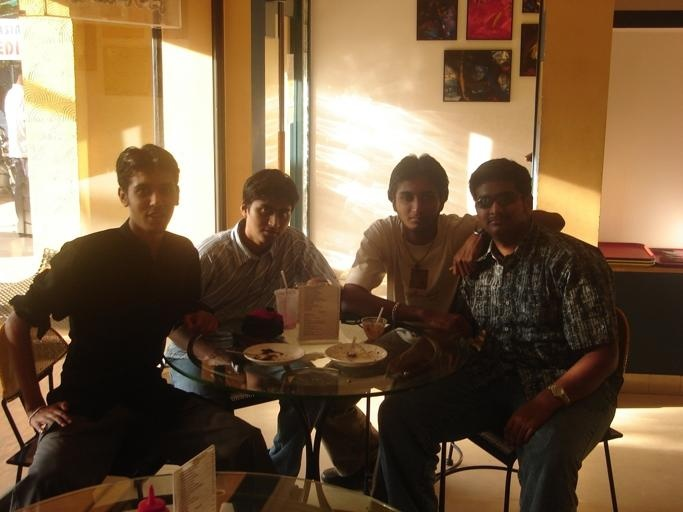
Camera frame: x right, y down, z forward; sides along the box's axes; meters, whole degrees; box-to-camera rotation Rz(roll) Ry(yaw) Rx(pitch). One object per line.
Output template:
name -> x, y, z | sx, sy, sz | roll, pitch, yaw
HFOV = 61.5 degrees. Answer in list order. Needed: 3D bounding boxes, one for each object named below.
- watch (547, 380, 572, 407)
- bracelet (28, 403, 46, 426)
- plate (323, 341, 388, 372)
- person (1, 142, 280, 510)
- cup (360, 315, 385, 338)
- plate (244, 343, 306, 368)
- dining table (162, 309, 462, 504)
watch -> 0.844, 0.527, 2.232 | 0.054, 0.087, 0.085 | -40, 32, -6
bracelet -> -1.132, 0.578, 2.114 | 0.095, 0.058, 0.041 | 8, 12, 33
plate -> 0.059, 0.357, 2.173 | 0.228, 0.066, 0.243 | 6, 10, 22
person -> -0.803, 0.216, 2.172 | 0.840, 1.267, 0.638 | -4, 11, -29
cup -> 0.139, 0.292, 2.385 | 0.093, 0.080, 0.160 | 2, 10, 5
plate -> -0.254, 0.367, 2.168 | 0.192, 0.034, 0.198 | 11, 13, 43
dining table -> -0.197, 0.602, 2.464 | 0.893, 0.569, 0.873 | 3, 0, 11
